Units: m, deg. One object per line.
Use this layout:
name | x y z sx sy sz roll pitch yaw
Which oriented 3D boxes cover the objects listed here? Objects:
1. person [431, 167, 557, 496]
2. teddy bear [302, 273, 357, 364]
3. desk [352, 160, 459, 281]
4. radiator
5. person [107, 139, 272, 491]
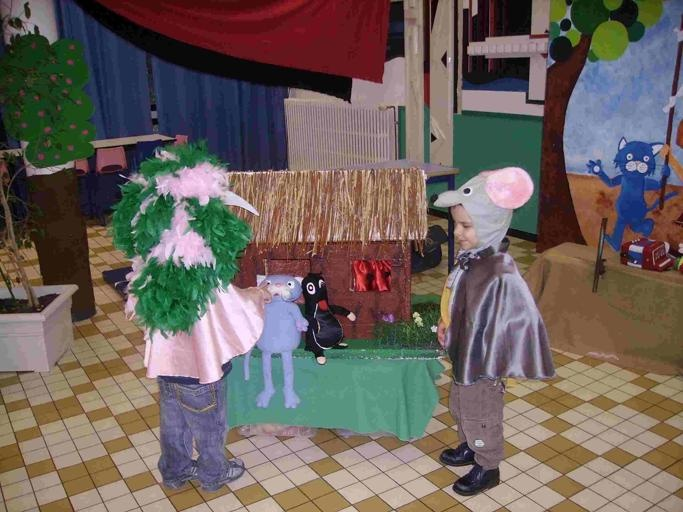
person | 0.874 0.444 3.276 0.576 1.884 0.474 -4 12 -5
teddy bear | -0.137 0.369 3.445 0.270 0.490 0.356 6 17 44
desk | 0.739 -0.542 6.329 1.336 1.246 1.153 9 30 23
radiator | 0.018 -1.963 8.973 0.162 1.425 2.162 -21 25 -40
person | -0.827 0.414 3.156 0.796 2.046 0.441 -5 12 -10
